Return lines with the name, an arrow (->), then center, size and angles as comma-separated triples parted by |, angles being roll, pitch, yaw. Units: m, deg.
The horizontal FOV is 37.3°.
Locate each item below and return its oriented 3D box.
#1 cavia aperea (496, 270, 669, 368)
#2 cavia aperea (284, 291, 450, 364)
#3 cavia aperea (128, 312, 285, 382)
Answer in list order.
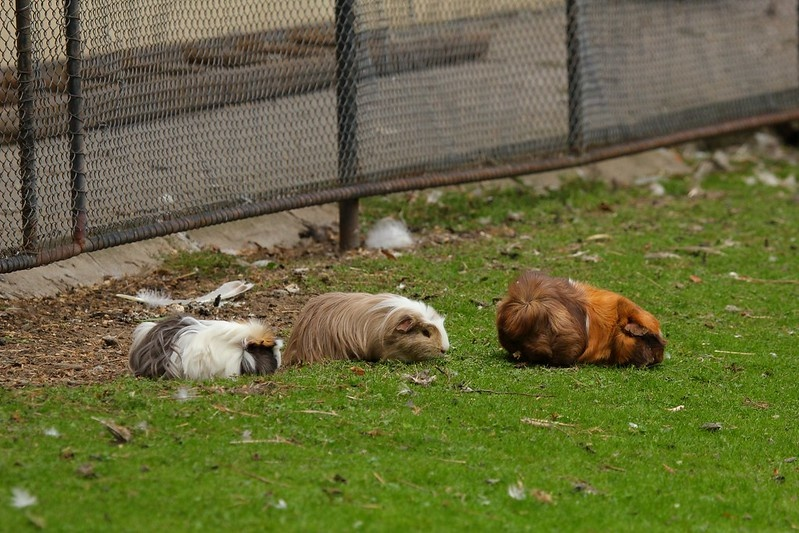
cavia aperea -> 1.475, 0.457, 9.818 | 1.349, 0.779, 0.359 | -3, 12, -7
cavia aperea -> -0.292, 0.530, 9.712 | 1.347, 0.527, 0.313 | -1, 12, 3
cavia aperea -> -1.584, 0.719, 9.565 | 1.295, 0.573, 0.701 | -2, 13, -1
